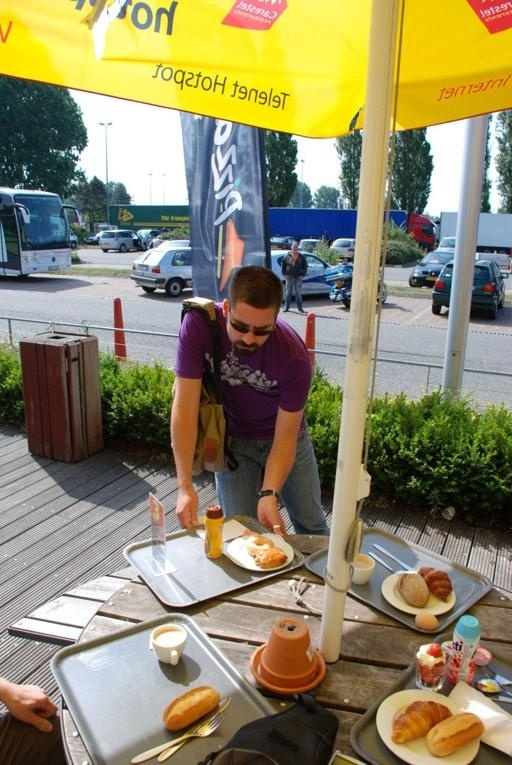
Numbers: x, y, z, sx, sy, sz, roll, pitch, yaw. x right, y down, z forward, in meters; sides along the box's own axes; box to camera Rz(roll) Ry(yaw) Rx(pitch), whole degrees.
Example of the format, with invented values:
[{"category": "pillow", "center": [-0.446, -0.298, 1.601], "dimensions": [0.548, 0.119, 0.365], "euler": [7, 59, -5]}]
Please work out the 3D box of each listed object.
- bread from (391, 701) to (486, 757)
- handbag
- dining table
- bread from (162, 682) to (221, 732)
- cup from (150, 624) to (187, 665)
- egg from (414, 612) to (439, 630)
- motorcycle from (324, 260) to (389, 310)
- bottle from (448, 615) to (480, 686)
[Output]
[{"category": "bread", "center": [0.412, 0.777, 1.206], "dimensions": [0.126, 0.045, 0.105], "euler": [-3, 6, -33]}, {"category": "handbag", "center": [-0.219, 0.144, 2.730], "dimensions": [0.291, 0.603, 0.276], "euler": [4, 8, 22]}, {"category": "dining table", "center": [0.080, 0.738, 1.494], "dimensions": [0.694, 0.188, 0.723], "euler": [0, 11, 1]}, {"category": "bread", "center": [-0.155, 0.742, 1.245], "dimensions": [0.058, 0.041, 0.120], "euler": [12, 10, 42]}, {"category": "cup", "center": [-0.245, 0.718, 1.491], "dimensions": [0.103, 0.068, 0.159], "euler": [1, 8, -9]}, {"category": "egg", "center": [0.522, 0.731, 1.639], "dimensions": [0.041, 0.045, 0.057], "euler": [1, -7, 7]}, {"category": "motorcycle", "center": [3.549, -3.311, 17.640], "dimensions": [2.677, 1.632, 1.155], "euler": [-16, 12, -40]}, {"category": "bottle", "center": [0.547, 0.700, 1.403], "dimensions": [0.068, 0.201, 0.068], "euler": [2, 8, 0]}]
